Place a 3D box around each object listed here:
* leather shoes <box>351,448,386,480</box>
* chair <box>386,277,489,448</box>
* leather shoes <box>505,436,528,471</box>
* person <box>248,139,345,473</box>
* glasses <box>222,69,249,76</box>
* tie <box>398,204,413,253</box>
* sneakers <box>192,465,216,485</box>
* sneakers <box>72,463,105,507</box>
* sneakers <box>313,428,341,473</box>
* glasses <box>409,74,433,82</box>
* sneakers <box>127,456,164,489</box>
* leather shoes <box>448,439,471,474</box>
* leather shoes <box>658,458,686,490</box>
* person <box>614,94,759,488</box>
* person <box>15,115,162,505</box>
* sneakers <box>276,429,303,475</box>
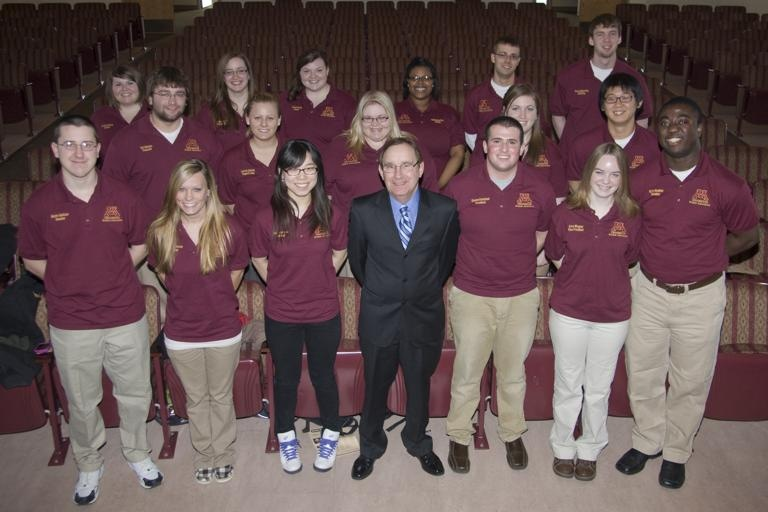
[{"bbox_3d":[-0.109,1.652,4.635,0.125,0.140,0.338,35,42,15],"label":"leather shoes"},{"bbox_3d":[0.508,0.928,5.516,1.201,1.647,1.187,1,9,3],"label":"chair"},{"bbox_3d":[1.068,1.599,4.647,0.123,0.107,0.264,-5,37,8],"label":"leather shoes"},{"bbox_3d":[-0.606,0.424,4.467,0.740,2.586,0.406,-5,14,-14],"label":"person"},{"bbox_3d":[-1.403,-1.745,5.496,0.209,0.064,0.063,-7,14,-23],"label":"glasses"},{"bbox_3d":[0.156,-0.217,4.219,0.104,0.293,0.121,1,14,13],"label":"tie"},{"bbox_3d":[-1.398,1.719,4.529,0.196,0.158,0.109,0,-8,-3],"label":"sneakers"},{"bbox_3d":[-2.245,1.740,4.440,0.125,0.147,0.316,1,36,-4],"label":"sneakers"},{"bbox_3d":[-0.453,1.552,4.603,0.138,0.177,0.411,14,42,-7],"label":"sneakers"},{"bbox_3d":[0.357,-1.721,5.603,0.217,0.063,0.056,-1,13,4],"label":"glasses"},{"bbox_3d":[-1.842,1.679,4.482,0.148,0.128,0.314,-23,42,-39],"label":"sneakers"},{"bbox_3d":[0.598,1.602,4.598,0.118,0.119,0.281,-2,31,-6],"label":"leather shoes"},{"bbox_3d":[2.254,1.714,4.521,0.115,0.122,0.303,3,14,17],"label":"leather shoes"},{"bbox_3d":[2.260,0.311,4.405,0.825,2.964,0.558,4,14,22],"label":"person"},{"bbox_3d":[-2.129,0.424,4.284,0.844,2.858,0.481,-7,14,-22],"label":"person"},{"bbox_3d":[-0.747,1.547,4.578,0.149,0.171,0.392,-8,31,-10],"label":"sneakers"}]
